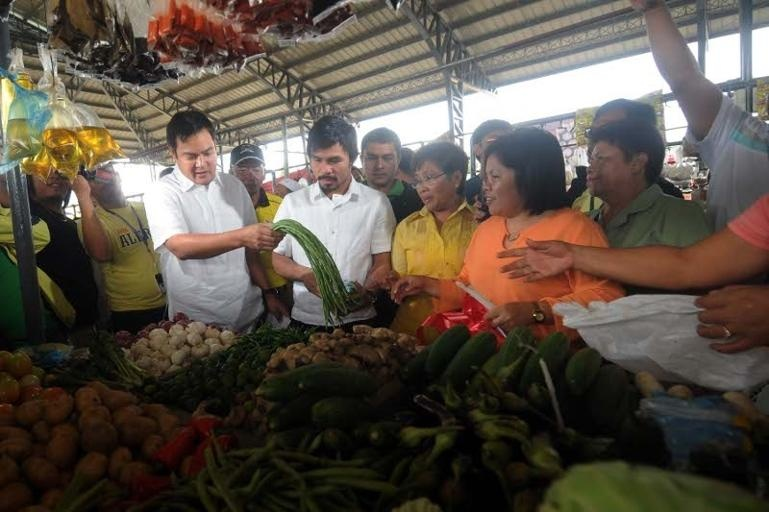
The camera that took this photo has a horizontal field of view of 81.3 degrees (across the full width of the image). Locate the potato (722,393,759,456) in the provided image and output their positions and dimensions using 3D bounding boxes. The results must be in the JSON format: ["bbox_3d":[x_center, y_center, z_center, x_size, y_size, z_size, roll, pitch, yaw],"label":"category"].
[{"bbox_3d":[1.151,0.516,1.415,0.094,0.088,0.195,-3,15,20],"label":"potato"}]

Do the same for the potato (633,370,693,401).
[{"bbox_3d":[0.956,0.428,1.535,0.082,0.050,0.158,-3,7,-35],"label":"potato"}]

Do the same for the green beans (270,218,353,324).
[{"bbox_3d":[-0.371,0.075,2.588,0.349,0.663,0.431,-2,1,10],"label":"green beans"}]

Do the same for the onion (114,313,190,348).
[{"bbox_3d":[-1.608,0.502,3.064,0.336,0.094,0.325,-17,9,5],"label":"onion"}]
